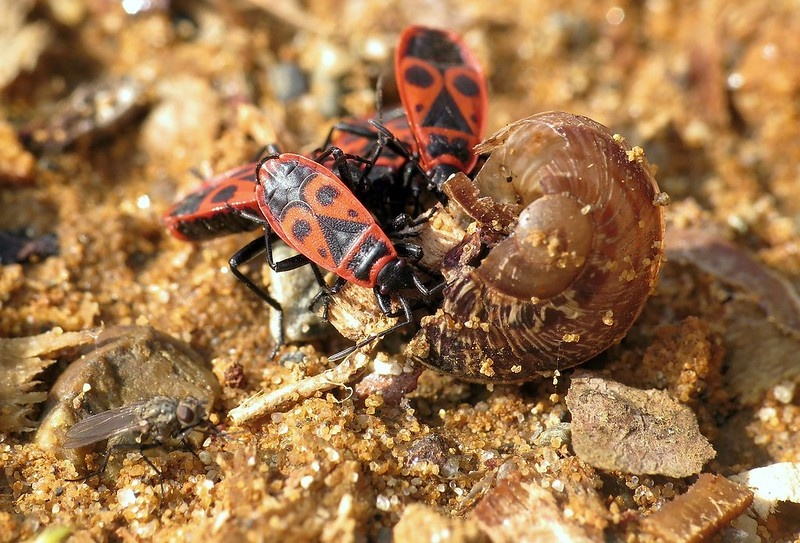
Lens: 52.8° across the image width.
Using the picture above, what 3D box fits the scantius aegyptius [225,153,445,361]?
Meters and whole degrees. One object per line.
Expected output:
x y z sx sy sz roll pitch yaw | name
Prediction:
-0.381 -0.238 5.184 1.355 0.330 1.167 43 103 6 | scantius aegyptius

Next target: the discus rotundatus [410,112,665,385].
0.893 -0.087 4.860 1.284 0.675 1.508 14 74 6 | discus rotundatus

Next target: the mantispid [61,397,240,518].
-1.615 1.007 5.018 0.956 0.825 0.356 -11 104 -13 | mantispid

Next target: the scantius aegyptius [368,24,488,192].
0.231 -1.165 5.672 0.744 0.288 1.142 1 75 -26 | scantius aegyptius

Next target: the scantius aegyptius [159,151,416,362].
-0.573 -0.224 5.412 1.441 1.441 1.308 -18 115 -29 | scantius aegyptius
